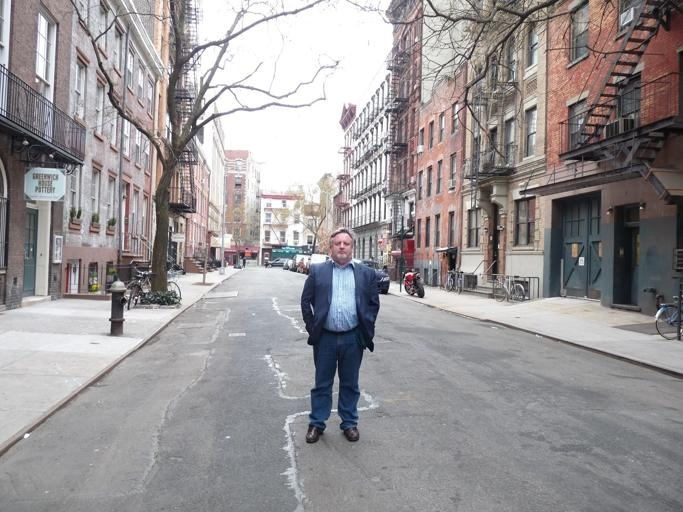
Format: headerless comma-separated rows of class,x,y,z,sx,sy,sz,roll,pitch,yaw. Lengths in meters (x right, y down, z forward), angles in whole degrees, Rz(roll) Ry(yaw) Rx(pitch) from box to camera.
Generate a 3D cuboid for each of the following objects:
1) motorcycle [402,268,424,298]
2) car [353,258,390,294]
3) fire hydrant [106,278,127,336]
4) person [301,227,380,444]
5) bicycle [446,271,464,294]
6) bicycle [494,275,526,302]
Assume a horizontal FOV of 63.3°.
motorcycle,3.617,1.319,27.245,0.589,0.949,1.674,2,3,-5
car,1.951,0.931,28.433,1.381,1.350,3.296,0,-5,-11
fire hydrant,-5.083,1.153,12.594,0.325,1.163,0.821,0,3,-23
person,-0.026,0.907,6.607,0.912,2.497,0.413,1,3,-5
bicycle,6.087,1.320,30.335,0.715,1.444,1.009,1,-2,-41
bicycle,7.402,1.463,24.280,0.611,0.925,1.466,0,-4,-21
